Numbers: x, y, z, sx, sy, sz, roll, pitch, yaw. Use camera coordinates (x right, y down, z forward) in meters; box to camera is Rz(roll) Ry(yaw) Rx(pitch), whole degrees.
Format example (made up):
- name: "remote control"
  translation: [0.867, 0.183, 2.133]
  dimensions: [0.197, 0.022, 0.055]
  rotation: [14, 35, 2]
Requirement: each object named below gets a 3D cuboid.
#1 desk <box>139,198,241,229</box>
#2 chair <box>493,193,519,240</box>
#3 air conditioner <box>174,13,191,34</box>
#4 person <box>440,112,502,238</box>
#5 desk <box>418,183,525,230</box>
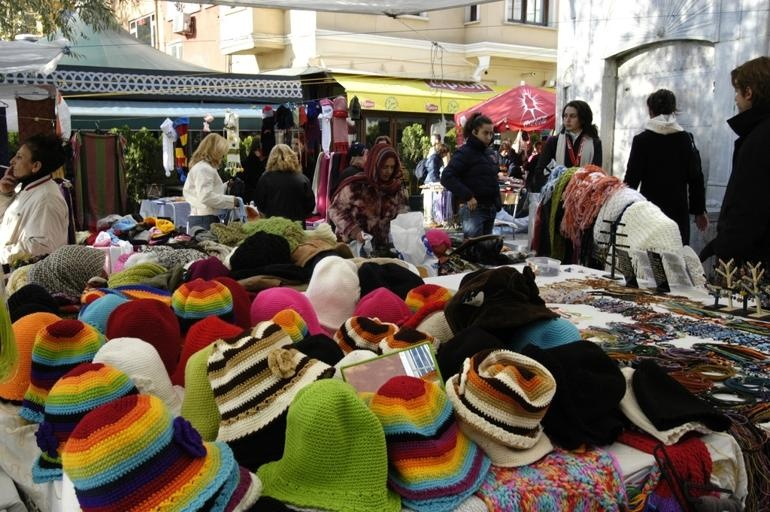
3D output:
- name: "desk"
  translation: [-3.092, -0.647, 8.596]
  dimensions: [0.930, 0.375, 0.919]
  rotation: [-3, 7, -31]
- name: "chair"
  translation: [1.886, -0.703, 9.334]
  dimensions: [0.408, 0.580, 0.424]
  rotation: [7, 19, 19]
- name: "air conditioner"
  translation: [-6.170, -7.097, 18.696]
  dimensions: [0.264, 0.703, 0.789]
  rotation: [-1, 0, -35]
- name: "person"
  translation: [0.979, -0.873, 6.738]
  dimensions: [0.708, 1.329, 0.382]
  rotation: [0, 10, -5]
- name: "desk"
  translation: [1.904, -1.130, 11.394]
  dimensions: [1.589, 0.841, 0.960]
  rotation: [-1, 26, 23]
